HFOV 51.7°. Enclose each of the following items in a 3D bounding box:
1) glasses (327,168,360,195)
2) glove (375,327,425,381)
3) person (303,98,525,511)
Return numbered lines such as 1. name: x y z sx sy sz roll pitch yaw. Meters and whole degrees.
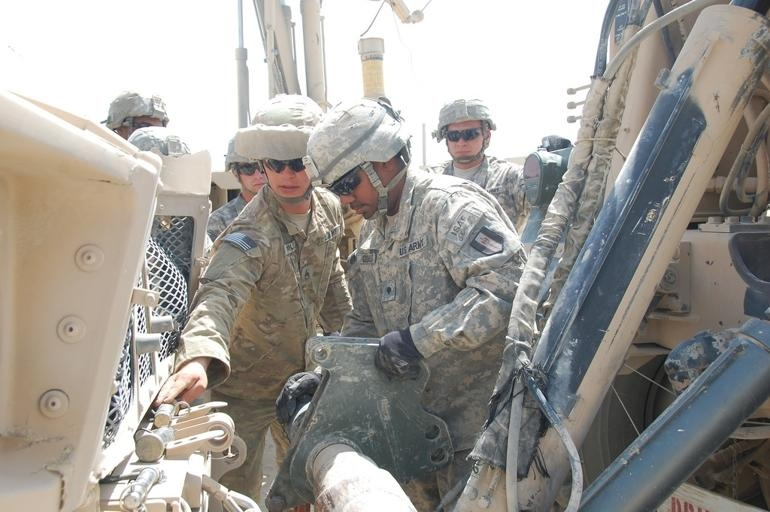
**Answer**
1. glasses: -0.200 -0.353 3.890 0.134 0.053 0.116 -31 12 -23
2. glove: 0.069 0.442 3.477 0.102 0.146 0.186 -3 -24 -46
3. person: 0.133 0.211 3.844 1.089 1.980 0.732 4 7 42
